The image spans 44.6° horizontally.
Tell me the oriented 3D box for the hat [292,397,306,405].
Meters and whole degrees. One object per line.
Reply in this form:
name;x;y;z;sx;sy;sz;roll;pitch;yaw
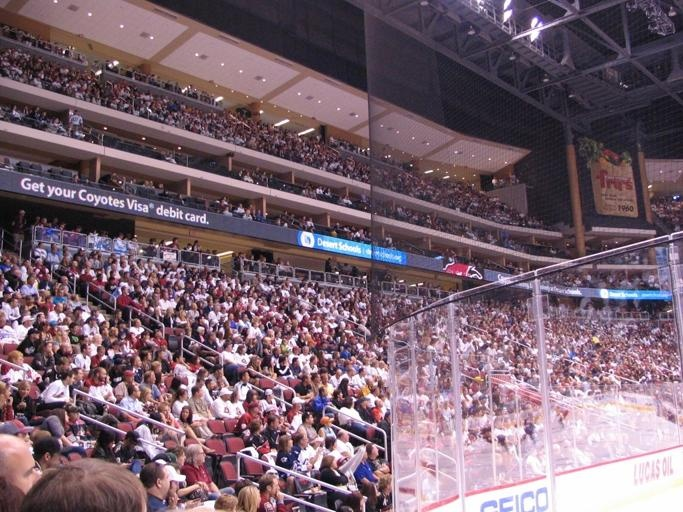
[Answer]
hat;-0.732;2.449;14.014;0.184;0.098;0.123;7;-3;16

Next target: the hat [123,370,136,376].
hat;-3.257;1.804;12.795;0.110;0.058;0.087;-13;-1;-9

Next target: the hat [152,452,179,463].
hat;-2.165;2.482;10.215;0.150;0.128;0.454;0;-12;23

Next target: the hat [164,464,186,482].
hat;-2.010;2.659;10.123;0.238;0.216;0.865;6;-11;-9
